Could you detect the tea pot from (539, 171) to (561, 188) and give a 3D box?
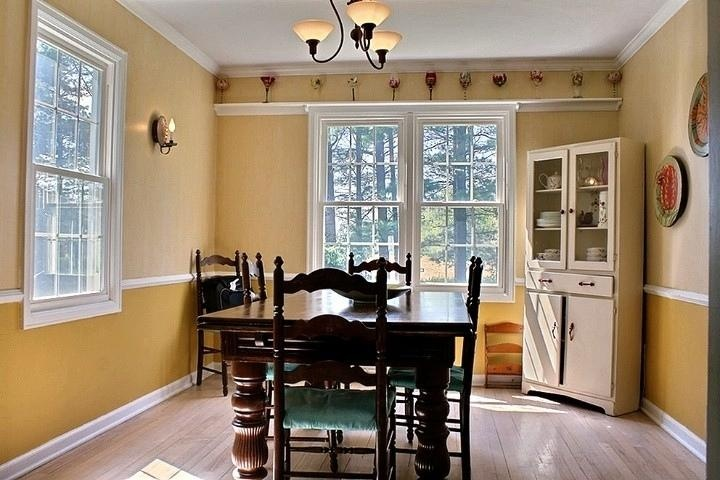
[{"bbox_3d":[2.019,-0.641,5.635,0.201,0.168,0.120,-1,-2,43],"label":"tea pot"}]

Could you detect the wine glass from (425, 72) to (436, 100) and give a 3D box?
[{"bbox_3d":[0.817,-1.779,6.111,0.131,0.304,0.054,-1,2,3],"label":"wine glass"}]

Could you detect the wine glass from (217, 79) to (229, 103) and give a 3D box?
[{"bbox_3d":[-1.621,-1.794,6.339,0.156,0.277,0.055,-1,2,-13],"label":"wine glass"}]

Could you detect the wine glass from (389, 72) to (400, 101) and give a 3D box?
[{"bbox_3d":[0.407,-1.769,6.145,0.131,0.284,0.061,-1,2,4],"label":"wine glass"}]

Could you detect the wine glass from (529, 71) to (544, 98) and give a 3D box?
[{"bbox_3d":[1.995,-1.819,6.012,0.158,0.211,0.056,-1,2,4],"label":"wine glass"}]

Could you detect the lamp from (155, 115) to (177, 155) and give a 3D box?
[{"bbox_3d":[-1.927,-1.063,5.364,0.188,0.358,0.277,4,11,-2],"label":"lamp"}]

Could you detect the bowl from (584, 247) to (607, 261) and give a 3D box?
[{"bbox_3d":[2.342,0.134,5.303,0.048,0.146,0.193,-3,2,-43],"label":"bowl"}]

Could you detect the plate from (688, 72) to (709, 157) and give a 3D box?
[{"bbox_3d":[2.848,-1.053,4.476,0.101,0.713,0.424,0,2,21],"label":"plate"}]

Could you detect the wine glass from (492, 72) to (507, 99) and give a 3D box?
[{"bbox_3d":[1.586,-1.813,6.127,0.177,0.206,0.196,-2,6,-22],"label":"wine glass"}]

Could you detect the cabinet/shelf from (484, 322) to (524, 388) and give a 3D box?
[{"bbox_3d":[1.618,1.286,5.963,0.434,0.728,0.243,-1,-1,7],"label":"cabinet/shelf"}]
